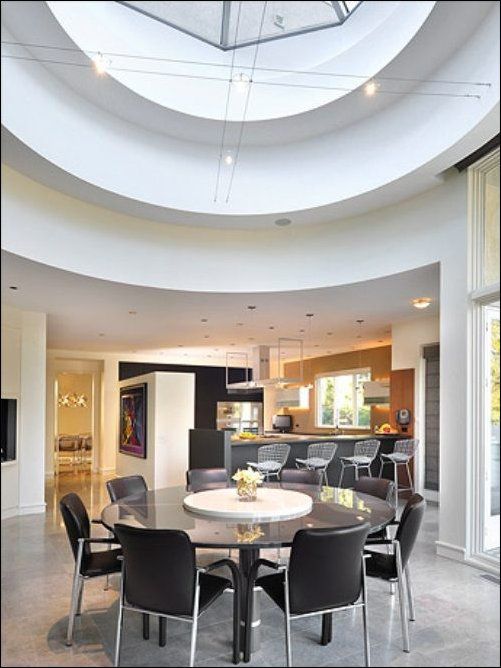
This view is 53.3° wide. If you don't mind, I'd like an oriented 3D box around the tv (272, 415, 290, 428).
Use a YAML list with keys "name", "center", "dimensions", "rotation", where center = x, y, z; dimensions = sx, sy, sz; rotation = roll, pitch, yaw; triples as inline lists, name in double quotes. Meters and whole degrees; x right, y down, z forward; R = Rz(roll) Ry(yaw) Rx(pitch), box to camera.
- name: "tv"
  center: [0.907, 2.412, 13.798]
  dimensions: [0.263, 0.384, 0.514]
  rotation: [-2, -4, 25]

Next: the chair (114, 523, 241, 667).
- name: "chair"
  center: [-0.336, 1.182, 2.292]
  dimensions: [0.561, 0.640, 0.452]
  rotation: [2, -6, -17]

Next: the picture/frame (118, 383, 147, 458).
- name: "picture/frame"
  center: [-2.064, 1.522, 8.822]
  dimensions: [0.061, 1.257, 2.021]
  rotation: [2, -7, -25]

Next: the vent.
- name: "vent"
  center: [0.251, 0.602, 9.255]
  dimensions: [1.615, 0.700, 0.345]
  rotation: [0, -1, -22]

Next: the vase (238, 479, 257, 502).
- name: "vase"
  center: [-0.005, 0.953, 3.070]
  dimensions: [0.113, 0.129, 0.117]
  rotation: [1, 0, -27]
